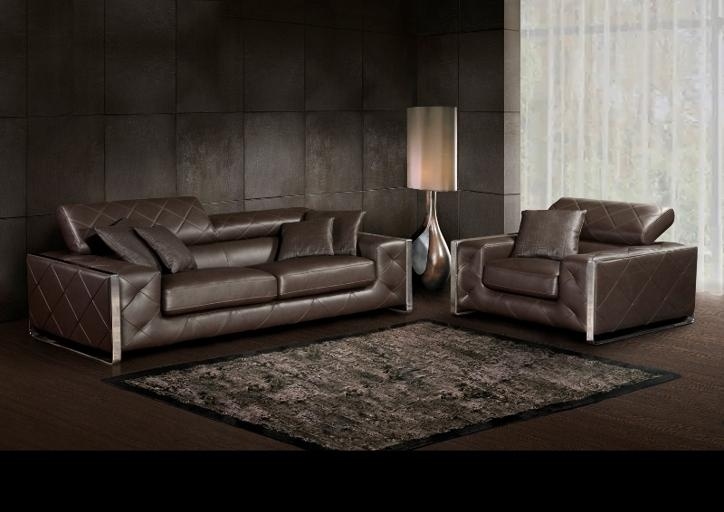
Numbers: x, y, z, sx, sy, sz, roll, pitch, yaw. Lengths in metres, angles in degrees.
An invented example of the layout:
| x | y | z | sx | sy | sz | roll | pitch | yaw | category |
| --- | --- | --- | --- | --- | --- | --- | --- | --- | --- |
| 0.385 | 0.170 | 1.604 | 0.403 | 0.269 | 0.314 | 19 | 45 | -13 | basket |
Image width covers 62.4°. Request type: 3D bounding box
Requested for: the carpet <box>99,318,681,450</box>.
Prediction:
| x | y | z | sx | sy | sz | roll | pitch | yaw | category |
| --- | --- | --- | --- | --- | --- | --- | --- | --- | --- |
| -0.003 | 0.935 | 4.281 | 2.702 | 0.026 | 2.349 | -16 | -30 | 26 | carpet |

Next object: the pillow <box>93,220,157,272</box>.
| x | y | z | sx | sy | sz | roll | pitch | yaw | category |
| --- | --- | --- | --- | --- | --- | --- | --- | --- | --- |
| -1.880 | -0.065 | 4.884 | 0.415 | 0.349 | 0.260 | 2 | 10 | 17 | pillow |

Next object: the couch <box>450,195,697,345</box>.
| x | y | z | sx | sy | sz | roll | pitch | yaw | category |
| --- | --- | --- | --- | --- | --- | --- | --- | --- | --- |
| 1.970 | 0.063 | 5.632 | 1.494 | 0.991 | 1.585 | -7 | 11 | -31 | couch |

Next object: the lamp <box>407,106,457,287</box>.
| x | y | z | sx | sy | sz | roll | pitch | yaw | category |
| --- | --- | --- | --- | --- | --- | --- | --- | --- | --- |
| 0.737 | -0.593 | 6.359 | 0.491 | 1.934 | 0.254 | 0 | 10 | 2 | lamp |
